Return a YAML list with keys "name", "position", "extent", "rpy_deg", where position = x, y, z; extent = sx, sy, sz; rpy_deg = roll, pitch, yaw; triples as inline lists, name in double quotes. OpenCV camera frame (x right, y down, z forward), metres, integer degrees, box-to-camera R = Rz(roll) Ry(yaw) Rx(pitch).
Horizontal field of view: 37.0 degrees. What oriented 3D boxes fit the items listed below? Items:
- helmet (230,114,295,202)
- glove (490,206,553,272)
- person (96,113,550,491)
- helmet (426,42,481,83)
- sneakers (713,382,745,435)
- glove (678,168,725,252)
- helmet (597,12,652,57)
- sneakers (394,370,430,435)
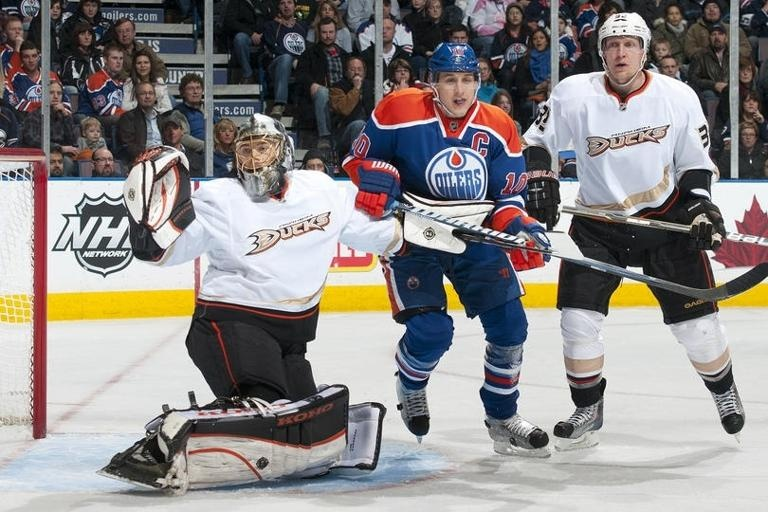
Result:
- name: "helmet"
  position: [-0.627, -0.526, 6.044]
  extent: [0.364, 0.428, 0.481]
  rpy_deg: [-4, -2, 11]
- name: "glove"
  position: [0.722, -0.073, 6.394]
  extent: [0.136, 0.371, 0.370]
  rpy_deg: [-49, -1, 43]
- name: "person"
  position: [-0.675, 0.230, 5.955]
  extent: [1.417, 1.901, 0.603]
  rpy_deg: [-3, 9, -12]
- name: "helmet"
  position: [0.387, -1.075, 6.475]
  extent: [0.211, 0.220, 0.227]
  rpy_deg: [2, 3, -1]
- name: "sneakers"
  position: [1.977, 0.874, 6.693]
  extent: [0.113, 0.140, 0.348]
  rpy_deg: [-30, 23, 25]
- name: "glove"
  position: [1.817, -0.255, 6.599]
  extent: [0.279, 0.449, 0.172]
  rpy_deg: [20, -47, -36]
- name: "helmet"
  position: [1.388, -1.294, 6.724]
  extent: [0.260, 0.258, 0.287]
  rpy_deg: [1, 0, 20]
- name: "sneakers"
  position: [0.168, 0.841, 6.649]
  extent: [0.151, 0.394, 0.211]
  rpy_deg: [-12, -12, -5]
